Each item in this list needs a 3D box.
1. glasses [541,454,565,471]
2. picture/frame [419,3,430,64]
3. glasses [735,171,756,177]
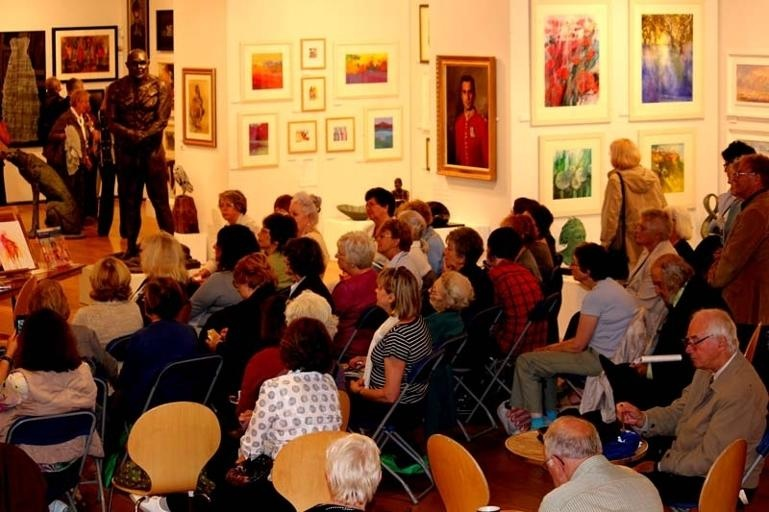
[{"bbox_3d":[0.879,0.970,3.224,0.076,0.025,0.077,-29,-23,30],"label":"glasses"},{"bbox_3d":[0.940,-4.272,13.191,0.074,1.136,0.296,-5,6,-36],"label":"picture/frame"},{"bbox_3d":[3.323,-0.704,5.851,0.163,0.036,0.041,3,7,36],"label":"glasses"}]
